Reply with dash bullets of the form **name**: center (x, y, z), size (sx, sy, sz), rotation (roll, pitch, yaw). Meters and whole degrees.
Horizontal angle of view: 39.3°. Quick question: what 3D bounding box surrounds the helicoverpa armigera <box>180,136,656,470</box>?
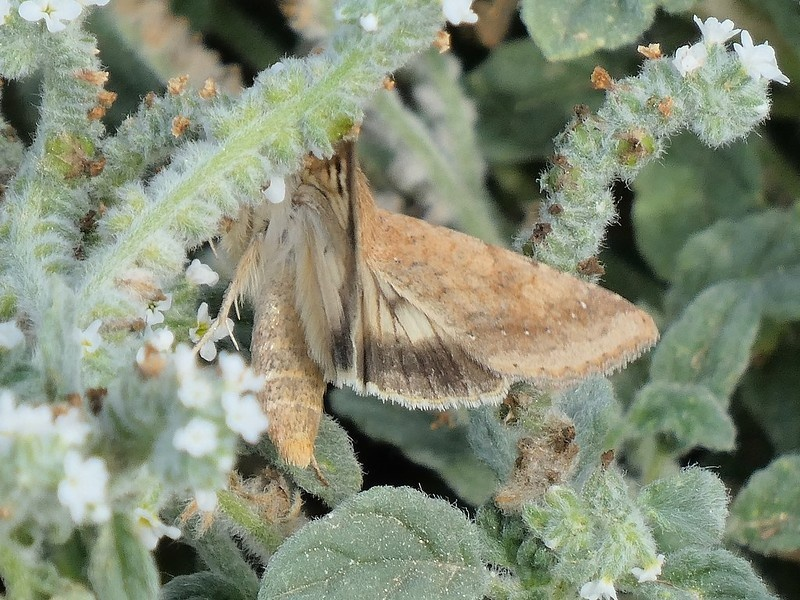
- **helicoverpa armigera**: center (0.027, 0.029, 1.757), size (0.667, 0.532, 0.401), rotation (-6, 59, -4)

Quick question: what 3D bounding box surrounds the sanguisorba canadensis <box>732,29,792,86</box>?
- **sanguisorba canadensis**: center (0.548, -0.359, 1.699), size (0.027, 0.080, 0.082), rotation (-39, 79, 12)
